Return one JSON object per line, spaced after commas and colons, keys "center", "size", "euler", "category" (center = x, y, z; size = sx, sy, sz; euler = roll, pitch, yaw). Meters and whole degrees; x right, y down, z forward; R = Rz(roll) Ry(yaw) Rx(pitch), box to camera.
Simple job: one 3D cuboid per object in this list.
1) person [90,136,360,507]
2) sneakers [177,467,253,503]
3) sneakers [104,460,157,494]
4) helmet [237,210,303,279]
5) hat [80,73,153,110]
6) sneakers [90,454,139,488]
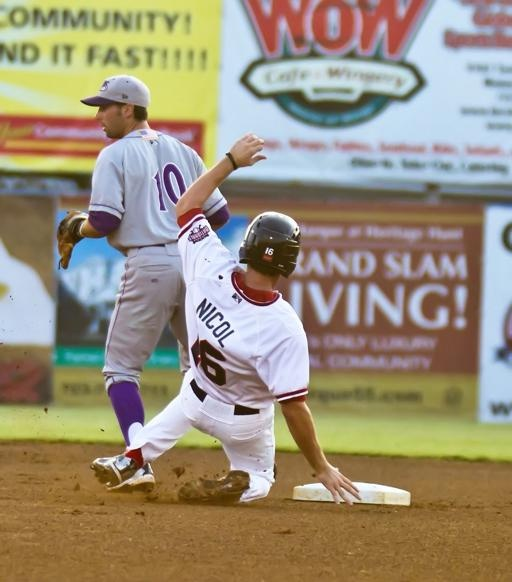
{"center": [-0.038, 0.117, 5.206], "size": [1.048, 1.430, 0.345], "euler": [6, 7, 30], "category": "person"}
{"center": [-0.164, 0.783, 5.431], "size": [0.349, 0.146, 0.120], "euler": [-4, -39, 49], "category": "sneakers"}
{"center": [-0.524, 0.749, 5.471], "size": [0.228, 0.099, 0.089], "euler": [8, -5, -14], "category": "sneakers"}
{"center": [0.051, -0.180, 5.150], "size": [0.185, 0.237, 0.218], "euler": [7, 7, 36], "category": "helmet"}
{"center": [-0.589, -0.844, 5.787], "size": [0.236, 0.116, 0.143], "euler": [6, 16, -9], "category": "hat"}
{"center": [-0.561, 0.702, 5.392], "size": [0.119, 0.094, 0.244], "euler": [-16, 10, -14], "category": "sneakers"}
